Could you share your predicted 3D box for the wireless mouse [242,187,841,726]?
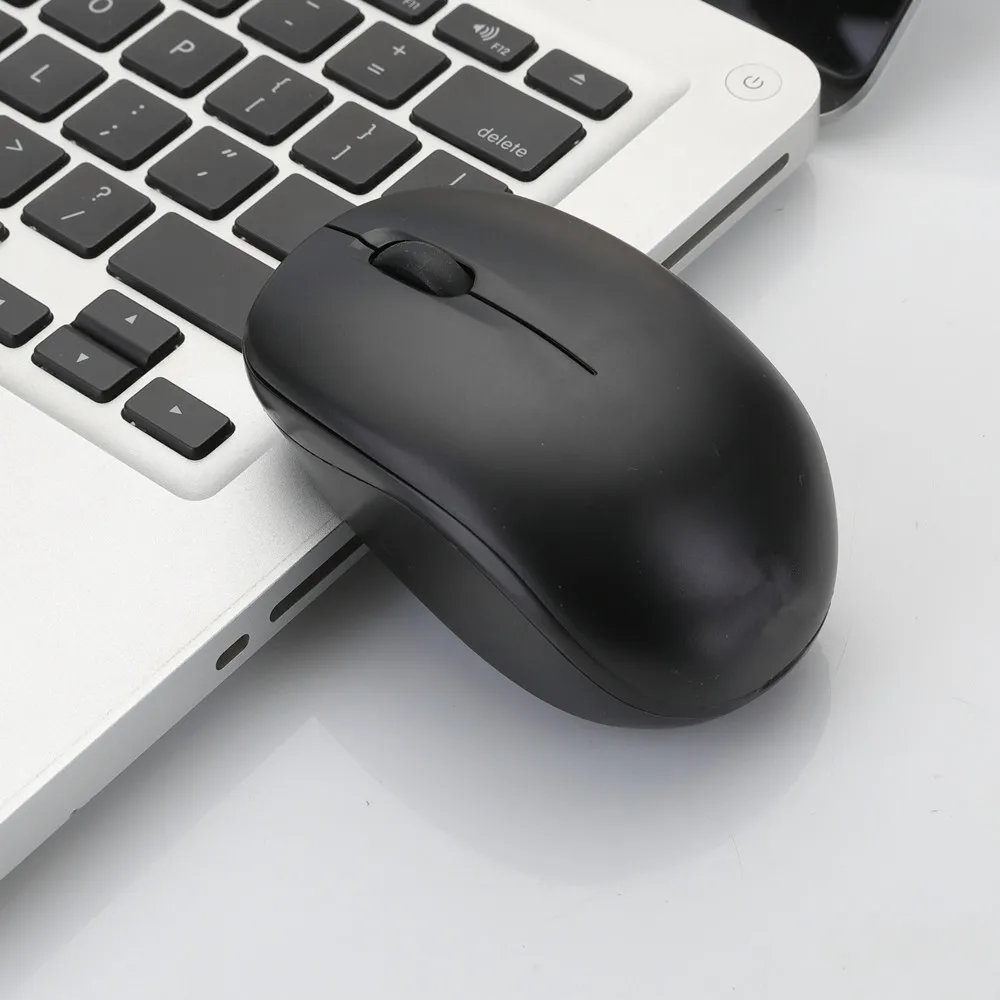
[{"bbox_3d":[-0.003,-0.013,0.347,0.181,0.063,0.105,42,63,12],"label":"wireless mouse"}]
